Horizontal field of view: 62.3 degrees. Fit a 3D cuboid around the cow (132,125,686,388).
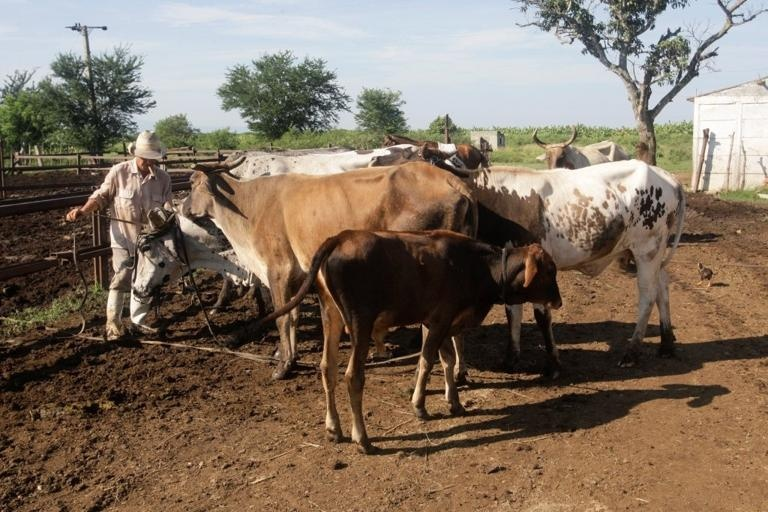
[{"bbox_3d":[0.238,-0.148,9.431,7.533,3.450,2.273,0,-3,6],"label":"cow"}]
